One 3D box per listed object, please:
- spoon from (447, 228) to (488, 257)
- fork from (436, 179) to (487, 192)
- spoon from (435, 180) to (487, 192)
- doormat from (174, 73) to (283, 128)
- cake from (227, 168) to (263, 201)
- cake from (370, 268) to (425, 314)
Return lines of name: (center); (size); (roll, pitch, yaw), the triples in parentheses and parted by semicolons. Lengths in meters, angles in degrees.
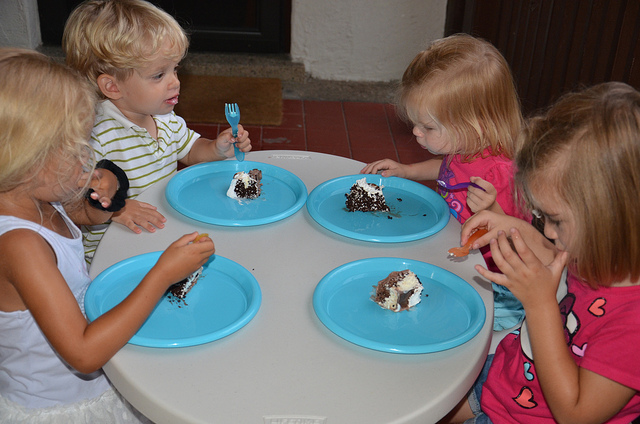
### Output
spoon: (0.544, 0.116, 1.854); (0.064, 0.038, 0.216); (30, 53, 29)
fork: (0.645, -0.123, 2.275); (0.274, 0.053, 0.047); (6, -2, 7)
spoon: (0.644, -0.120, 2.277); (0.288, 0.056, 0.050); (5, 3, 14)
doormat: (-0.886, -1.098, 4.849); (1.043, 0.102, 1.133); (-2, 37, -3)
cake: (-0.302, -0.142, 2.129); (0.106, 0.058, 0.145); (21, 45, 13)
cake: (0.271, 0.256, 1.683); (0.142, 0.053, 0.139); (-6, 63, 5)
